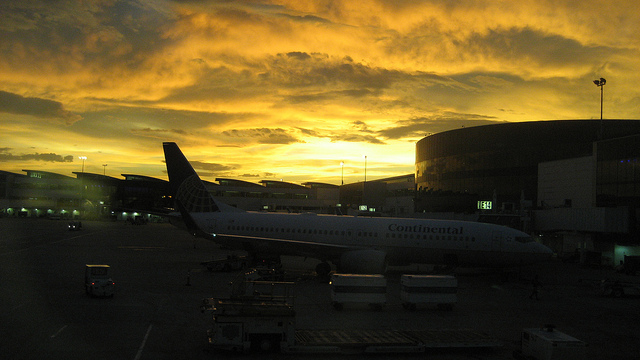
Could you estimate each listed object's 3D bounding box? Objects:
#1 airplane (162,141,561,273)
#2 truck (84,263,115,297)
[{"bbox_3d":[4.033,5.507,79.751,45.430,11.065,9.832,3,15,6],"label":"airplane"},{"bbox_3d":[-23.366,10.221,69.472,3.063,2.217,5.066,-4,11,-26],"label":"truck"}]
